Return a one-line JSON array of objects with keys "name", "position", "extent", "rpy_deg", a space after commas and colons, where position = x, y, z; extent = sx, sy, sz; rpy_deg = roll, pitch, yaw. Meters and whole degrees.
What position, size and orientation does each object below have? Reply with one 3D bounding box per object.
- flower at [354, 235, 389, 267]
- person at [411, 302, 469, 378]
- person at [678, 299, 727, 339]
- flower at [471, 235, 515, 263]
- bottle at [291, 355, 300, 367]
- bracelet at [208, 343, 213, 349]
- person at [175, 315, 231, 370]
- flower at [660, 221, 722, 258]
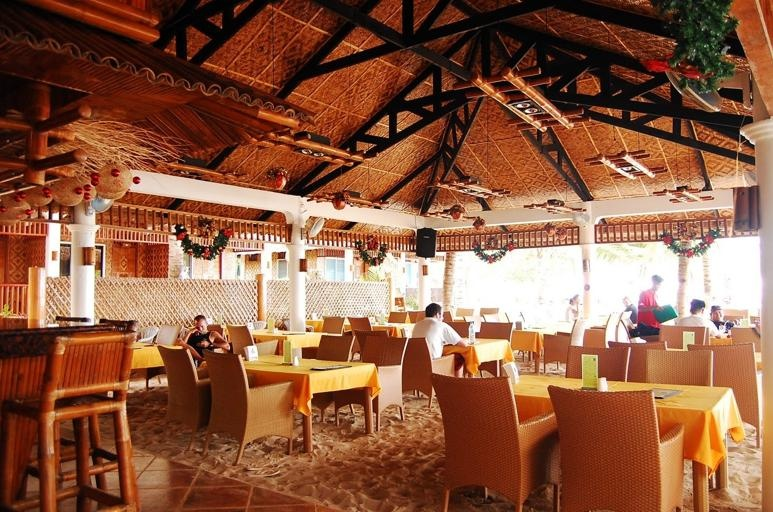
[{"name": "flower", "position": [-0.429, -0.159, 15.671], "extent": [0.962, 0.758, 0.873], "rpy_deg": [-1, 4, 5]}, {"name": "person", "position": [0.821, 1.194, 8.089], "extent": [0.736, 1.001, 0.772], "rpy_deg": [-10, 9, -44]}, {"name": "person", "position": [5.293, 1.042, 9.569], "extent": [0.860, 0.603, 0.457], "rpy_deg": [4, 14, 41]}, {"name": "flower", "position": [3.245, -0.258, 16.896], "extent": [0.882, 0.284, 1.012], "rpy_deg": [13, 29, 41]}, {"name": "bottle", "position": [-1.090, 1.230, 6.747], "extent": [0.096, 0.074, 0.088], "rpy_deg": [1, -10, -15]}, {"name": "bracelet", "position": [-2.430, 1.218, 7.815], "extent": [0.061, 0.055, 0.024], "rpy_deg": [26, 24, -23]}, {"name": "person", "position": [-2.600, 1.229, 7.894], "extent": [0.668, 0.752, 0.428], "rpy_deg": [4, -5, -23]}, {"name": "flower", "position": [7.244, -0.417, 13.682], "extent": [1.263, 0.476, 0.841], "rpy_deg": [14, 33, 15]}]
